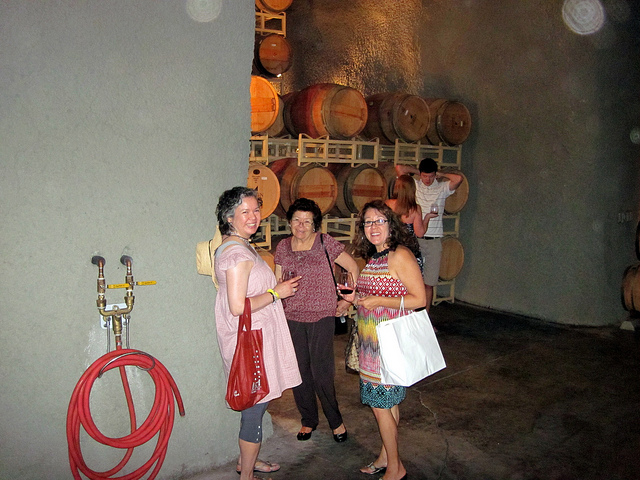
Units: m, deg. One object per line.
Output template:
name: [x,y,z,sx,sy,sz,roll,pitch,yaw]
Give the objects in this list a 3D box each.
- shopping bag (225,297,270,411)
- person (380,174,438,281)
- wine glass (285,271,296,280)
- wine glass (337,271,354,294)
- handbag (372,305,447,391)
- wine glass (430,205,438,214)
shopping bag: [-0.429,0.649,3.120,0.195,0.626,0.296,-1,-5,25]
person: [0.909,-0.090,5.832,0.563,0.432,1.446,8,-44,11]
wine glass: [-0.209,0.256,3.846,0.057,0.061,0.062,1,5,-7]
wine glass: [0.162,0.266,3.428,0.104,0.132,0.157,0,11,4]
handbag: [0.540,0.654,3.243,0.397,0.422,0.177,-7,12,-28]
wine glass: [1.304,-0.362,6.202,0.109,0.115,0.113,1,6,-1]
